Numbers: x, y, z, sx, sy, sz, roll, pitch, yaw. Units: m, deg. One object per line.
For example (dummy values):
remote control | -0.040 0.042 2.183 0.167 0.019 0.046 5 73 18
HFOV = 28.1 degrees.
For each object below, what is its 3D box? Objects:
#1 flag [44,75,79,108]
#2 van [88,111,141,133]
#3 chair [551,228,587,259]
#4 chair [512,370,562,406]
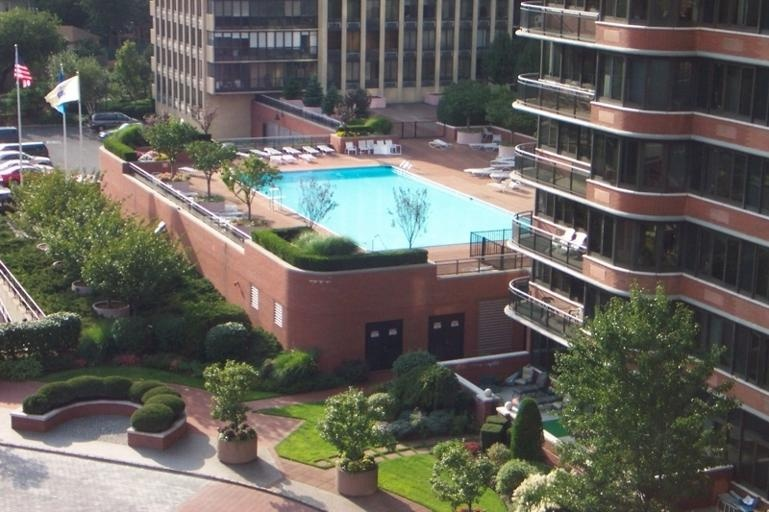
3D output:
flag | -20.978 -10.836 101.283 1.236 2.270 3.124 -9 16 -34
van | -22.906 -11.417 129.976 2.976 1.337 4.069 12 18 40
chair | 9.297 -0.643 75.852 0.804 1.255 2.032 -11 18 -40
chair | 7.743 6.543 78.790 1.927 0.955 3.178 -3 14 -14
